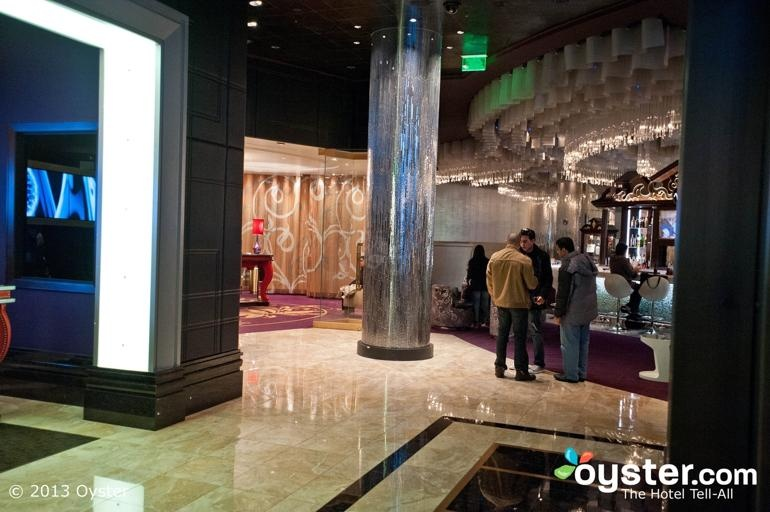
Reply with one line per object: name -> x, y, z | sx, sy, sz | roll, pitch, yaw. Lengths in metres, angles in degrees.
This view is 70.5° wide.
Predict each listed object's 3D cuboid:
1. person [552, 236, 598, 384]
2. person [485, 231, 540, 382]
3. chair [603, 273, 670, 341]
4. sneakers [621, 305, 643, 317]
person -> 2.251, 0.642, 6.492 | 0.470, 1.699, 0.428 | 3, 3, 17
person -> 1.535, 0.597, 6.637 | 0.618, 1.724, 0.520 | 2, 3, 8
chair -> 4.431, 0.793, 9.818 | 1.311, 1.158, 1.313 | 1, 2, 36
sneakers -> 4.846, 1.098, 10.754 | 0.449, 0.184, 0.164 | 16, 4, 30
